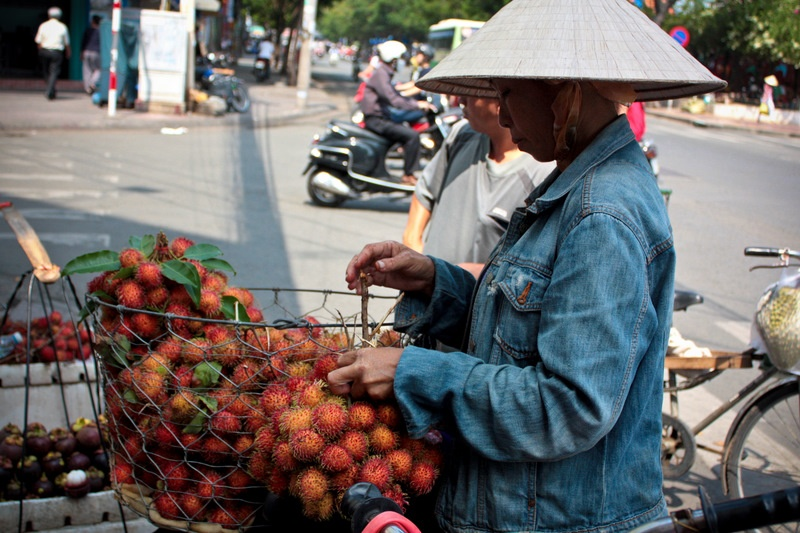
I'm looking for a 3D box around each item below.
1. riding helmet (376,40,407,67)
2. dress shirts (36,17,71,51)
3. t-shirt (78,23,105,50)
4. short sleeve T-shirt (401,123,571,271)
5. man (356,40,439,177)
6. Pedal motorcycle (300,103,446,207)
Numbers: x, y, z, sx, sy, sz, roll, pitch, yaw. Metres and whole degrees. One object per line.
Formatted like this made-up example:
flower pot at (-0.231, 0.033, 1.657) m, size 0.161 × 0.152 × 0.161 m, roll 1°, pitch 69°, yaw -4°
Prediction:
riding helmet at (-0.107, -2.551, 9.952) m, size 0.502 × 0.259 × 0.754 m, roll -1°, pitch 13°, yaw -1°
dress shirts at (-1.489, -0.991, 3.547) m, size 0.137 × 0.133 × 0.047 m, roll -1°, pitch 12°, yaw -28°
t-shirt at (-1.346, -0.997, 3.600) m, size 0.094 × 0.110 × 0.057 m, roll 2°, pitch -8°, yaw 23°
short sleeve T-shirt at (0.415, -0.293, 4.345) m, size 0.748 × 0.785 × 0.406 m, roll 26°, pitch 18°, yaw 21°
man at (0.099, -2.252, 9.823) m, size 0.865 × 1.746 × 0.681 m, roll -1°, pitch 12°, yaw 25°
Pedal motorcycle at (-0.231, -1.350, 9.964) m, size 1.850 × 1.315 × 0.989 m, roll -4°, pitch 38°, yaw -18°
